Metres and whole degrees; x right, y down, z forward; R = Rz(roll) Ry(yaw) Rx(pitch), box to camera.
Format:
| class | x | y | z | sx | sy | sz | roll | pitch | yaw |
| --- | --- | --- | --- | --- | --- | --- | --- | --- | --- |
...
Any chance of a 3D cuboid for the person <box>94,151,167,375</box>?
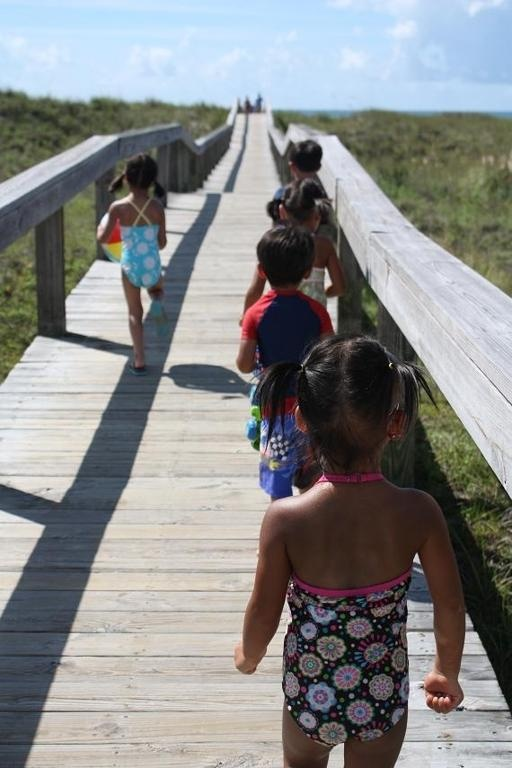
| class | x | y | z | sx | sy | sz | roll | pitch | yaw |
| --- | --- | --- | --- | --- | --- | --- | --- | --- | --- |
| person | -0.640 | -0.618 | 4.352 | 0.352 | 1.119 | 0.654 | -3 | 21 | -6 |
